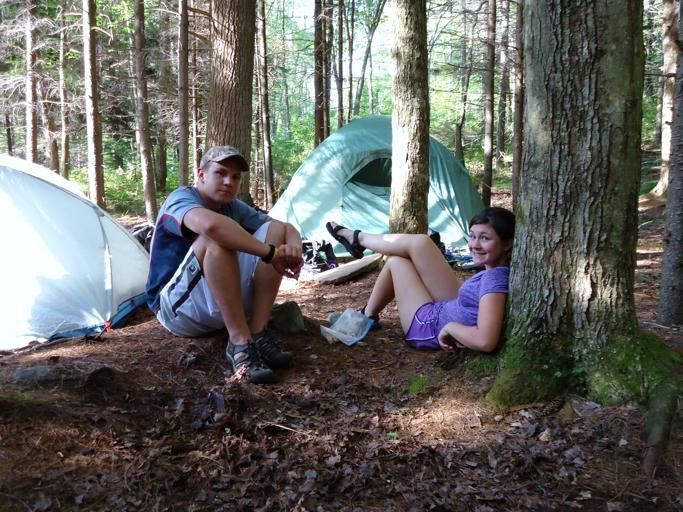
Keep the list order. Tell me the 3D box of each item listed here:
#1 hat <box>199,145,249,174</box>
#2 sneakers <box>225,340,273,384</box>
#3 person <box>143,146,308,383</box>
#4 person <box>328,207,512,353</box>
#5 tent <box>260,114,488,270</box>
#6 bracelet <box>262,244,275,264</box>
[{"bbox_3d":[-0.900,-0.745,4.250,0.291,0.155,0.213,-5,-5,45],"label":"hat"},{"bbox_3d":[-0.687,0.747,4.015,0.425,0.247,0.199,7,11,38],"label":"sneakers"},{"bbox_3d":[-0.933,-0.003,4.293,1.251,1.648,0.609,5,10,32],"label":"person"},{"bbox_3d":[0.732,0.178,4.349,0.568,1.128,1.385,-8,11,-41],"label":"person"},{"bbox_3d":[0.288,-1.204,10.394,3.067,1.524,2.729,-1,12,-7],"label":"tent"},{"bbox_3d":[-0.530,-0.014,4.107,0.094,0.138,0.094,3,9,21],"label":"bracelet"}]
